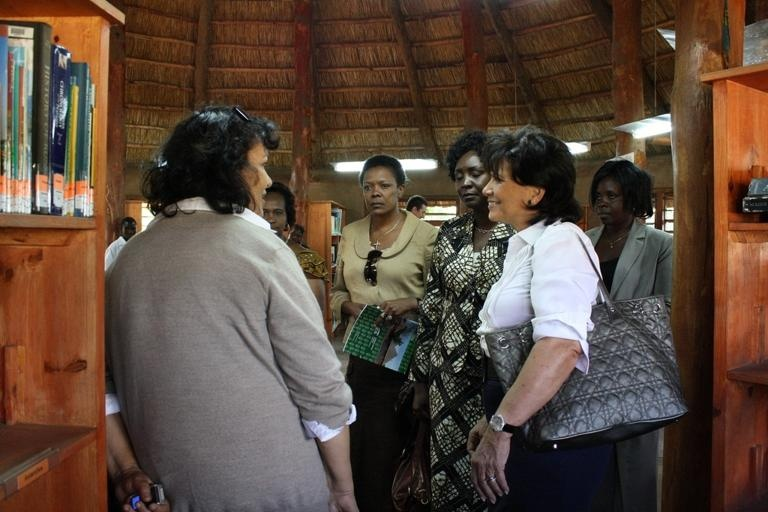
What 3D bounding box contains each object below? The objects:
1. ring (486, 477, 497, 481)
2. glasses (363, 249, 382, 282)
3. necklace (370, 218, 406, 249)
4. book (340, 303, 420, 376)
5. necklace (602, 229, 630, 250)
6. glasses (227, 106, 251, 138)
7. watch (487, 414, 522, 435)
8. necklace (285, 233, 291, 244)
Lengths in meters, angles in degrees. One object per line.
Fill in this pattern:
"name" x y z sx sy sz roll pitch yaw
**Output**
"ring" 0.362 0.742 2.111 0.018 0.005 0.018 1 -1 0
"glasses" -0.061 0.054 3.236 0.089 0.158 0.054 -7 -11 36
"necklace" 0.015 -0.113 3.311 0.145 0.110 0.192 -4 -2 5
"book" -0.001 0.409 3.067 0.338 0.262 0.035 16 6 6
"necklace" 1.282 -0.088 3.446 0.097 0.023 0.072 -32 -11 -7
"glasses" -0.464 -0.427 2.007 0.093 0.069 0.028 33 48 21
"watch" 0.397 0.547 2.067 0.077 0.045 0.076 32 -14 -18
"necklace" -0.619 -0.108 4.037 0.066 0.064 0.049 -4 21 -4
